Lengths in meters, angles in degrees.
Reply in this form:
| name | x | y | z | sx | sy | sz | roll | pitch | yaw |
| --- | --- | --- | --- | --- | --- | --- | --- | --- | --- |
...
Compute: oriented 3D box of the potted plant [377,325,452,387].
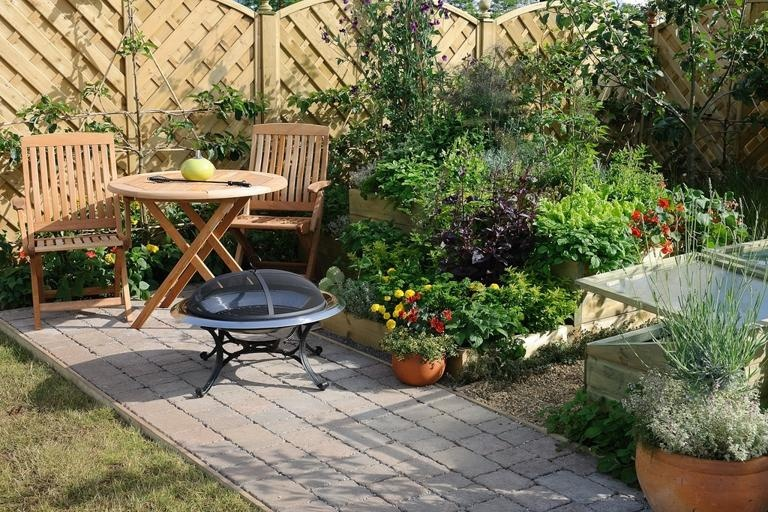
| name | x | y | z | sx | sy | sz | roll | pitch | yaw |
| --- | --- | --- | --- | --- | --- | --- | --- | --- | --- |
| potted plant | 0.216 | 0.660 | 4.021 | 0.414 | 0.262 | 0.390 | 1 | 3 | -5 |
